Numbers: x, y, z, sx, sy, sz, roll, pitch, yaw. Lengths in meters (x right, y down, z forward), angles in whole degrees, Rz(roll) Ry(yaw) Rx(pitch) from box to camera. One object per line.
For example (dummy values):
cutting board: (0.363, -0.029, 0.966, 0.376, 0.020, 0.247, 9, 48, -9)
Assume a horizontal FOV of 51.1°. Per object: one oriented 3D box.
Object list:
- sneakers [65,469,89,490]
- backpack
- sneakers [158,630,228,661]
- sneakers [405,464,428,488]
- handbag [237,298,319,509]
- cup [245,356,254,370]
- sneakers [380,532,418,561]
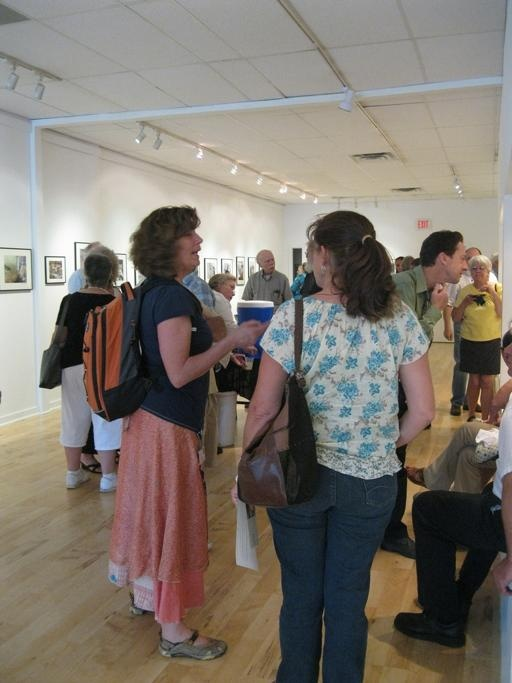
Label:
sneakers: (-1.363, 1.035, 4.054, 0.090, 0.095, 0.214, 1, 8, 8)
backpack: (-0.449, 0.061, 2.081, 0.482, 0.573, 0.514, -3, 7, -24)
sneakers: (-0.242, 1.150, 2.057, 0.245, 0.089, 0.095, 0, -6, -1)
sneakers: (1.030, 0.865, 3.422, 0.098, 0.101, 0.265, -3, 8, -4)
handbag: (0.049, 0.143, 1.256, 0.187, 0.472, 0.097, -2, 4, -4)
cup: (-0.069, 0.209, 5.158, 0.110, 0.112, 0.110, 1, 0, 0)
sneakers: (0.813, 1.150, 3.008, 0.224, 0.092, 0.076, 1, -3, 30)
